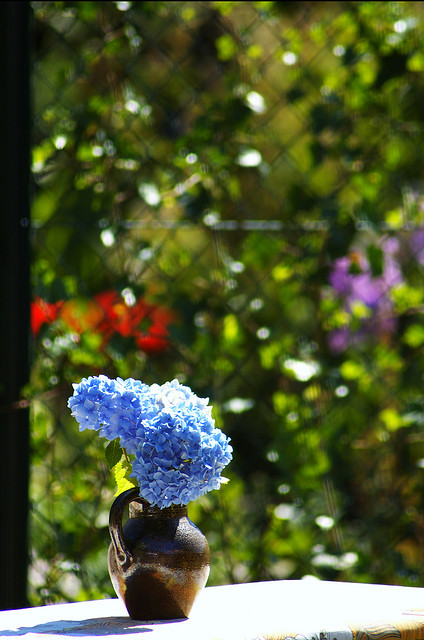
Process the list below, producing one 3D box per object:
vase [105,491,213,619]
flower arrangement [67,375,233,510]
[{"bbox_3d":[-0.085,0.314,1.199,0.146,0.157,0.184,-8,-16,35],"label":"vase"},{"bbox_3d":[-0.079,0.159,1.177,0.182,0.174,0.123,6,-12,-38],"label":"flower arrangement"}]
